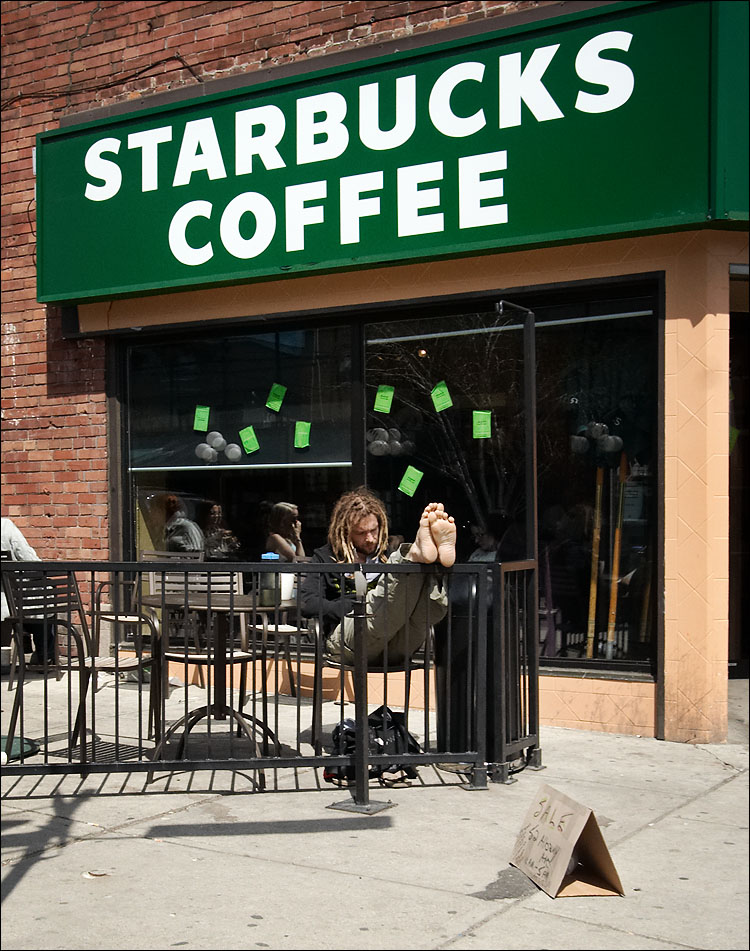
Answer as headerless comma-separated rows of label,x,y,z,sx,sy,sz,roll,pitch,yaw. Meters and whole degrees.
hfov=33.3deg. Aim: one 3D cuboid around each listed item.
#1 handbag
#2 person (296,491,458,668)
handbag,0.009,1.386,6.403,0.292,0.325,0.600,-10,-15,27
person,0.023,0.509,6.368,0.578,0.801,1.116,3,-12,-17
